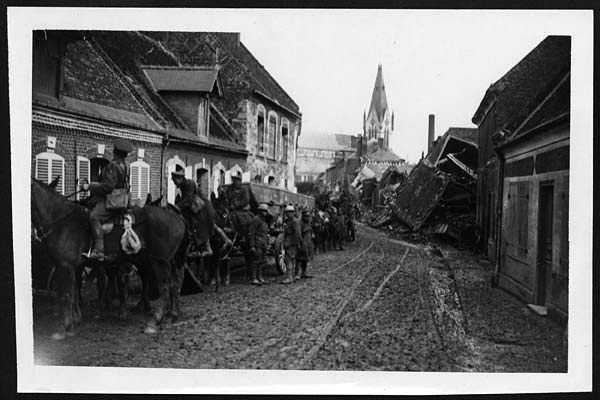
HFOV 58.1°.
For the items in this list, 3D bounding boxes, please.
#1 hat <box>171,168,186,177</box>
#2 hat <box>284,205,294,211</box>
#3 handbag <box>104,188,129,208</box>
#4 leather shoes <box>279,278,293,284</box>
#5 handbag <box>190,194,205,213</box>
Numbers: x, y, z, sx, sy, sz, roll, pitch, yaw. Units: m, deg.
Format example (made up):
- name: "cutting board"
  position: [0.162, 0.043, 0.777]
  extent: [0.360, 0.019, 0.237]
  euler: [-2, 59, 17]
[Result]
- name: "hat"
  position: [-3.125, -0.672, 13.303]
  extent: [0.490, 0.241, 0.377]
  euler: [-2, 1, -2]
- name: "hat"
  position: [-0.329, 0.249, 16.333]
  extent: [0.166, 0.163, 0.203]
  euler: [0, -4, -2]
- name: "handbag"
  position: [-4.173, -0.006, 12.296]
  extent: [0.622, 0.677, 0.354]
  euler: [2, 1, -27]
- name: "leather shoes"
  position: [-0.421, 2.390, 16.012]
  extent: [0.284, 0.141, 0.158]
  euler: [1, -5, 3]
- name: "handbag"
  position: [-2.618, 0.093, 13.569]
  extent: [0.193, 0.346, 0.414]
  euler: [26, -19, -5]
